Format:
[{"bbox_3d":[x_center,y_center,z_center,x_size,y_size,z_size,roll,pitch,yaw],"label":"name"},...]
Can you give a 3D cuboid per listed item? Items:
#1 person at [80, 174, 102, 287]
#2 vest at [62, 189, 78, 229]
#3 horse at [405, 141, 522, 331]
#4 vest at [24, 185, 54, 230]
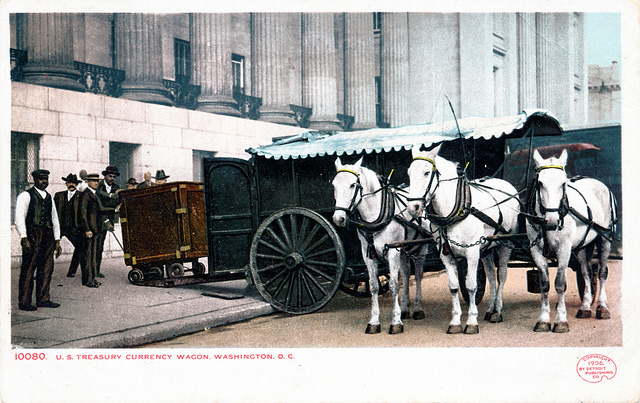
[{"bbox_3d":[-6.402,0.757,27.377,0.642,3.030,1.553,-3,4,-13],"label":"person"},{"bbox_3d":[-7.056,0.207,27.630,0.423,1.042,0.457,-2,4,-4],"label":"vest"},{"bbox_3d":[3.518,0.834,23.458,2.986,4.414,0.902,-4,4,-26],"label":"horse"},{"bbox_3d":[-7.119,0.167,24.746,0.694,1.066,0.275,-3,4,-17],"label":"vest"}]
